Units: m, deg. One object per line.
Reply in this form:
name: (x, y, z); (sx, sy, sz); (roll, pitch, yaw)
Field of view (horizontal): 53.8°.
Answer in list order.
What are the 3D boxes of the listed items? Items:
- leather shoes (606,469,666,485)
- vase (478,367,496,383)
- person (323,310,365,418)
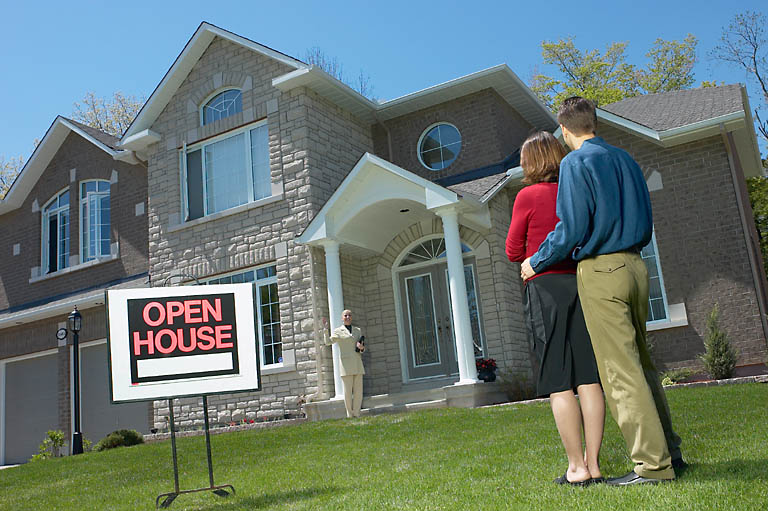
leather shoes: (3.339, 3.008, 10.093); (0.678, 0.272, 0.248); (0, -21, 11)
vase: (2.585, 3.032, 19.103); (0.355, 0.335, 0.354); (14, -19, -37)
person: (-0.940, 2.718, 19.062); (0.825, 2.057, 0.958); (-4, -4, -43)
